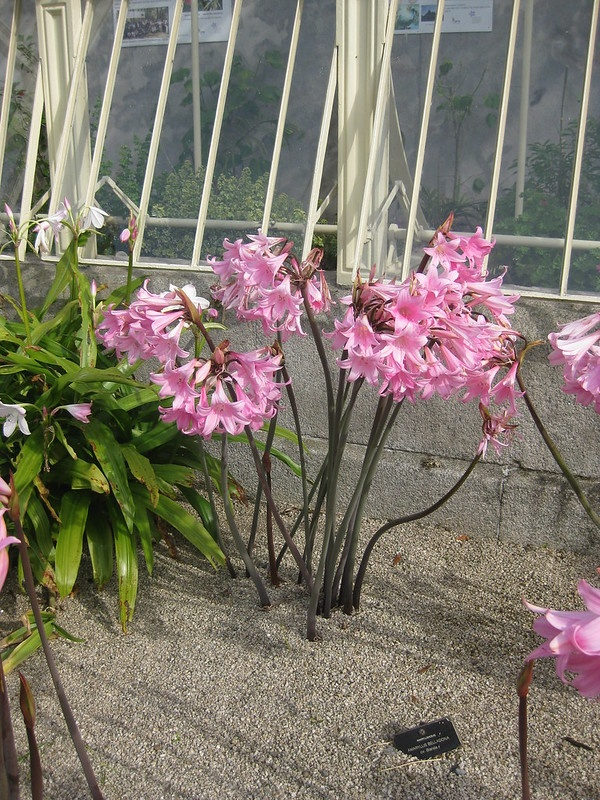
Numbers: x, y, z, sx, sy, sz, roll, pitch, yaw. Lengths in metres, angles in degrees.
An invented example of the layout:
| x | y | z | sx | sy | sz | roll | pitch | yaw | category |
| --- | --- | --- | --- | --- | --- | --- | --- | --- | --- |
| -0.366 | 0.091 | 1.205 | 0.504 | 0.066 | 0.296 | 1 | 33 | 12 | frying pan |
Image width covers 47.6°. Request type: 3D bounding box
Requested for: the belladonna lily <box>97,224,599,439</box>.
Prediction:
| x | y | z | sx | sy | sz | roll | pitch | yaw | category |
| --- | --- | --- | --- | --- | --- | --- | --- | --- | --- |
| 0.202 | -0.183 | 1.960 | 0.917 | 0.368 | 0.996 | 3 | -3 | -24 | belladonna lily |
